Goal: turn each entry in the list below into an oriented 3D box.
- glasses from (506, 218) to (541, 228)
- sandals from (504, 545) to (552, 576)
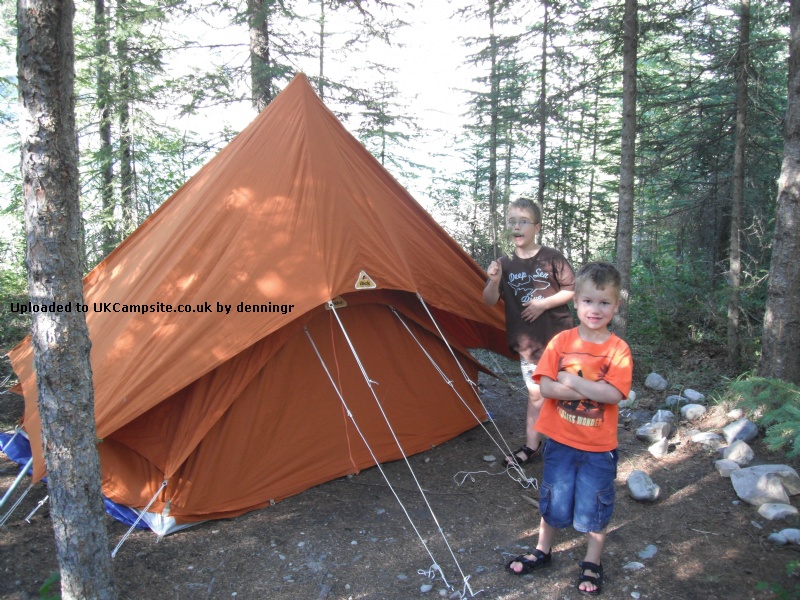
[{"bbox_3d":[1.368,-0.852,8.950,0.328,0.096,0.101,-2,5,4],"label":"glasses"},{"bbox_3d":[1.273,2.558,8.044,0.415,0.159,0.209,-7,30,-9],"label":"sandals"}]
